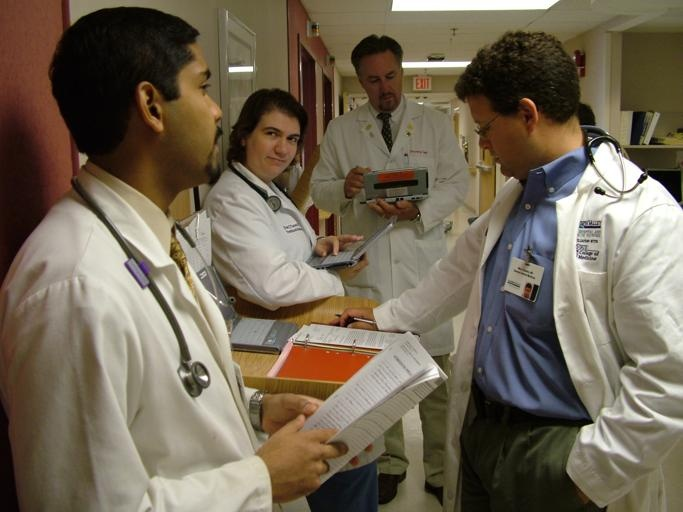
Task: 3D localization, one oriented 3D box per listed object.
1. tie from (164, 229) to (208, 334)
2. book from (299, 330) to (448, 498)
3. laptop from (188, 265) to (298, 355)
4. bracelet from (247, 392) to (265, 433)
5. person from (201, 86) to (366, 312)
[{"bbox_3d":[-0.383,0.050,1.372,0.117,0.191,0.047,-19,-1,-25],"label":"tie"},{"bbox_3d":[0.092,0.332,1.368,0.354,0.129,0.278,-45,1,17],"label":"book"},{"bbox_3d":[-0.323,0.150,1.831,0.277,0.242,0.221,1,17,2],"label":"laptop"},{"bbox_3d":[-0.226,0.411,1.471,0.027,0.074,0.069,1,20,6],"label":"bracelet"},{"bbox_3d":[-0.154,-0.100,2.441,0.651,1.006,1.024,-2,11,1],"label":"person"}]
